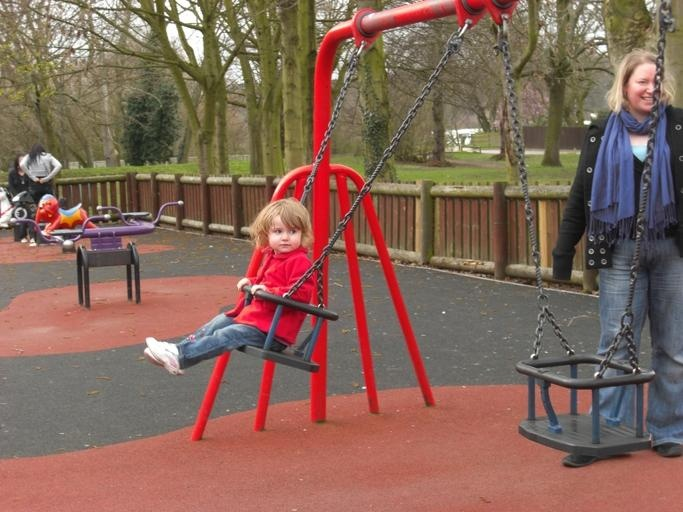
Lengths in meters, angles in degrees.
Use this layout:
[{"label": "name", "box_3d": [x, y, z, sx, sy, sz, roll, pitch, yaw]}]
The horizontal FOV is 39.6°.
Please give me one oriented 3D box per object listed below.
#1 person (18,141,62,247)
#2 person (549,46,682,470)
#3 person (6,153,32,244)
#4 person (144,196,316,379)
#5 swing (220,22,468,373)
[{"label": "person", "box_3d": [-5.979, -1.320, 19.010, 0.789, 2.275, 0.688, -7, 18, -29]}, {"label": "person", "box_3d": [1.915, -0.085, 6.492, 1.158, 2.332, 1.137, 10, 11, 18]}, {"label": "person", "box_3d": [-6.523, -1.171, 19.137, 0.483, 1.749, 0.393, 0, 14, -11]}, {"label": "person", "box_3d": [-0.570, 0.210, 6.630, 1.609, 1.494, 0.861, 0, 7, -13]}, {"label": "swing", "box_3d": [-0.108, -0.016, 6.631, 1.062, 3.489, 0.935, -3, 11, -31]}]
